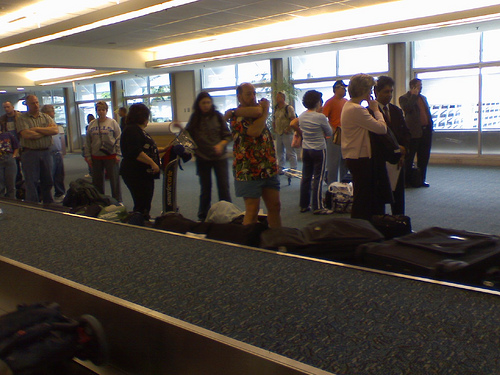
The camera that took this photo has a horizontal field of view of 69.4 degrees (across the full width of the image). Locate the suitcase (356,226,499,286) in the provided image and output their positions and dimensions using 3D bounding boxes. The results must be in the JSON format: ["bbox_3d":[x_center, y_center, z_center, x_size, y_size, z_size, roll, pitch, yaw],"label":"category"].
[{"bbox_3d":[0.924,0.282,1.799,0.414,0.108,0.399,-1,4,28],"label":"suitcase"}]

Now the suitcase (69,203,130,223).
[{"bbox_3d":[-1.528,0.247,3.720,0.441,0.128,0.285,0,4,-22],"label":"suitcase"}]

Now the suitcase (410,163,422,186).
[{"bbox_3d":[2.930,-0.205,6.317,0.186,0.359,0.094,1,15,19],"label":"suitcase"}]

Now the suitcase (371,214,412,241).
[{"bbox_3d":[1.144,0.317,2.946,0.349,0.169,0.248,-1,52,13],"label":"suitcase"}]

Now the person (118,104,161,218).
[{"bbox_3d":[-1.203,-0.298,4.006,0.418,1.233,0.440,-15,17,-37],"label":"person"}]

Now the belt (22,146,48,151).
[{"bbox_3d":[-3.160,-0.566,5.316,0.309,0.066,0.095,-6,13,-19],"label":"belt"}]

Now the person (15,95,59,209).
[{"bbox_3d":[-3.202,-0.496,5.418,0.560,1.606,0.617,9,16,19],"label":"person"}]

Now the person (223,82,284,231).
[{"bbox_3d":[0.056,-0.234,3.183,0.464,1.365,0.606,-4,14,-2],"label":"person"}]

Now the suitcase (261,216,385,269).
[{"bbox_3d":[0.431,0.310,2.200,0.558,0.151,0.311,-4,7,-6],"label":"suitcase"}]

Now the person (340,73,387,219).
[{"bbox_3d":[1.042,-0.370,3.237,0.384,1.275,0.465,-2,14,8],"label":"person"}]

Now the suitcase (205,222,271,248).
[{"bbox_3d":[-0.104,0.300,2.442,0.276,0.079,0.213,9,9,38],"label":"suitcase"}]

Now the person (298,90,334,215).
[{"bbox_3d":[0.917,-0.475,4.999,0.476,1.702,0.456,-3,14,4],"label":"person"}]

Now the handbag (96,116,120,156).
[{"bbox_3d":[-2.180,-0.777,5.547,0.450,0.504,0.140,-14,-7,-26],"label":"handbag"}]

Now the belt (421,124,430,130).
[{"bbox_3d":[3.121,-1.062,6.347,0.176,0.098,0.031,-8,14,-25],"label":"belt"}]
